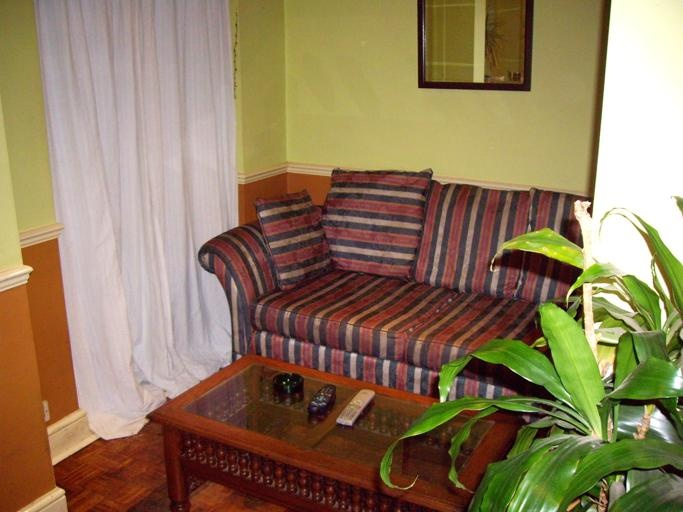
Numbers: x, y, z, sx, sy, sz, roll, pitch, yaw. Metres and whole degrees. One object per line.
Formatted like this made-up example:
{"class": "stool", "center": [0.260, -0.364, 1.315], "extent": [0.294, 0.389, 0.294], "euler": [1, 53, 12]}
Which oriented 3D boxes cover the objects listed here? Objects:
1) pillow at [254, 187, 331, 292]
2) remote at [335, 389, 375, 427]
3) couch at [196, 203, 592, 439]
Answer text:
{"class": "pillow", "center": [-0.297, -0.109, 3.354], "extent": [0.168, 0.560, 0.567], "euler": [-15, 6, 40]}
{"class": "remote", "center": [0.061, 0.625, 2.256], "extent": [0.065, 0.049, 0.223], "euler": [5, 15, 20]}
{"class": "couch", "center": [0.373, 0.258, 3.264], "extent": [2.225, 1.155, 1.036], "euler": [9, 26, 25]}
